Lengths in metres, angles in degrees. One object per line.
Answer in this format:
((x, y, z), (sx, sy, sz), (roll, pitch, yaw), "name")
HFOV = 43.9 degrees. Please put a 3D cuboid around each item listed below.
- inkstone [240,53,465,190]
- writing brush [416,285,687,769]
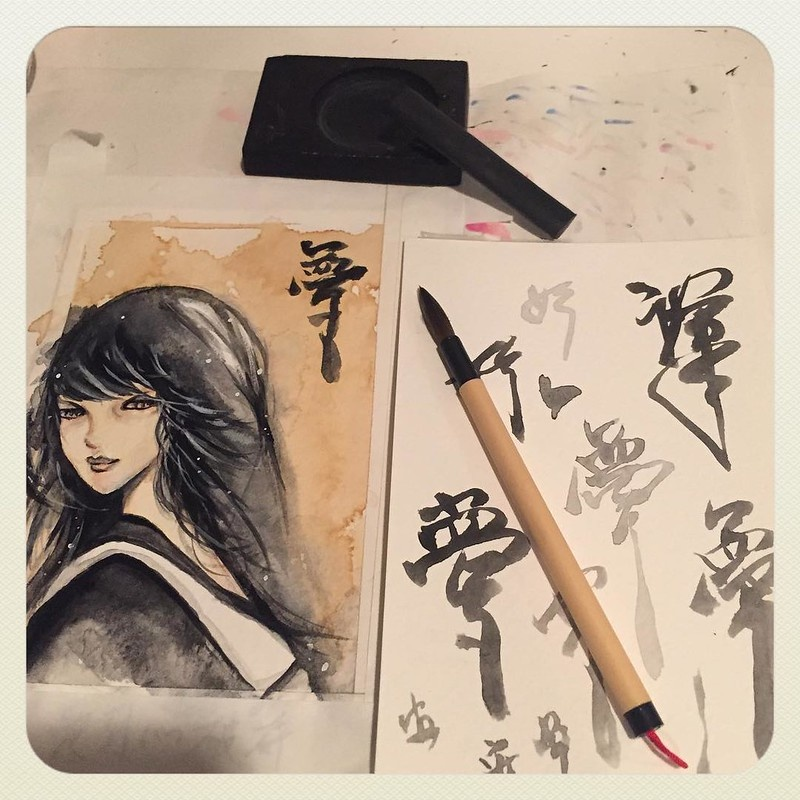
((-0.044, -0.225, 0.792), (0.203, 0.106, 0.037), (3, -17, 5), "inkstone")
((0.100, 0.088, 0.676), (0.022, 0.369, 0.032), (-31, -6, 41), "writing brush")
